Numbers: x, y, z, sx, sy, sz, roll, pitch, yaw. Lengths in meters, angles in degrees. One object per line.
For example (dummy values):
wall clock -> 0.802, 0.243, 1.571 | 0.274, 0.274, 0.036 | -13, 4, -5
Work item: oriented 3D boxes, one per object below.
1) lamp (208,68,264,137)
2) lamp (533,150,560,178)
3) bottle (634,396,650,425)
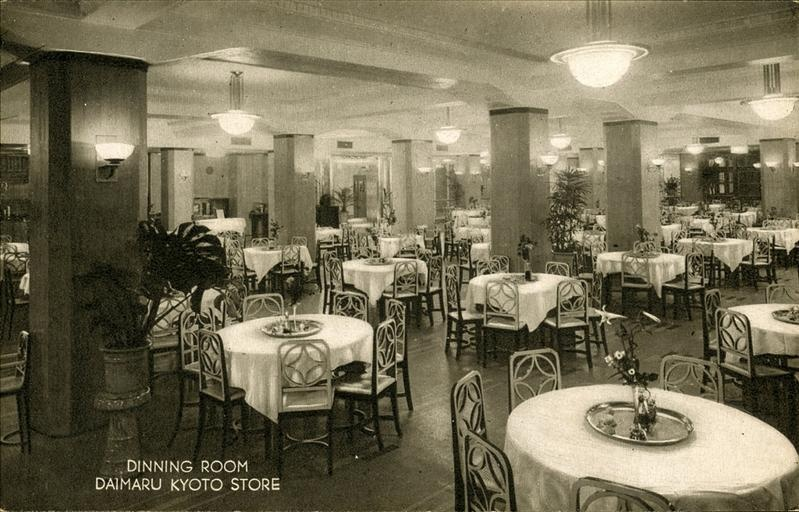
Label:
lamp -> -3.121, -2.751, 11.526 | 0.941, 1.033, 0.939 | 10, 6, 3
lamp -> 3.010, -1.869, 12.962 | 0.268, 0.507, 0.527 | 3, 6, 41
bottle -> 2.112, 1.324, 5.592 | 0.176, 0.228, 0.081 | 0, 0, -28
